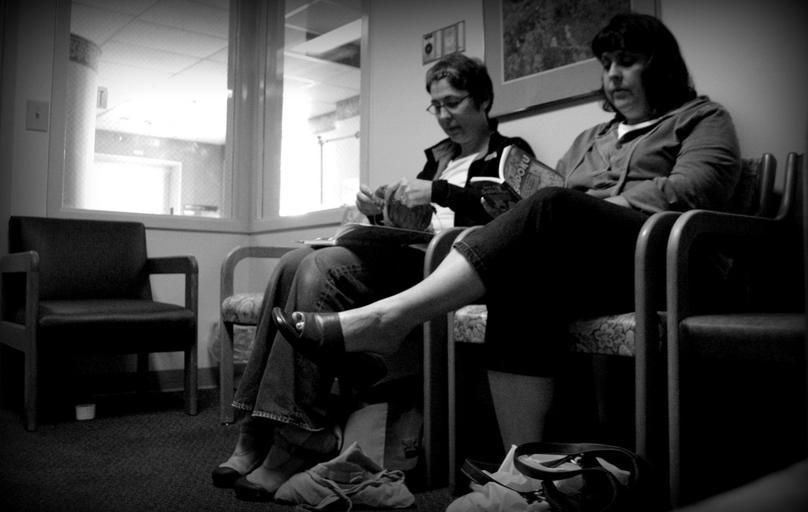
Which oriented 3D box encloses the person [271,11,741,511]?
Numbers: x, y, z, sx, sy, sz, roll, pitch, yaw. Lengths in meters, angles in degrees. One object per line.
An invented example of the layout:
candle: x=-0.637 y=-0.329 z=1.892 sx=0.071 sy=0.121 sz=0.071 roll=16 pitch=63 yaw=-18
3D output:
person: x=0.399 y=-0.058 z=2.166 sx=1.387 sy=1.511 sz=0.747 roll=2 pitch=-7 yaw=-24

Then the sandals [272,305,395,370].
sandals: x=-0.213 y=0.251 z=1.993 sx=0.398 sy=0.129 sz=0.144 roll=25 pitch=11 yaw=-34
